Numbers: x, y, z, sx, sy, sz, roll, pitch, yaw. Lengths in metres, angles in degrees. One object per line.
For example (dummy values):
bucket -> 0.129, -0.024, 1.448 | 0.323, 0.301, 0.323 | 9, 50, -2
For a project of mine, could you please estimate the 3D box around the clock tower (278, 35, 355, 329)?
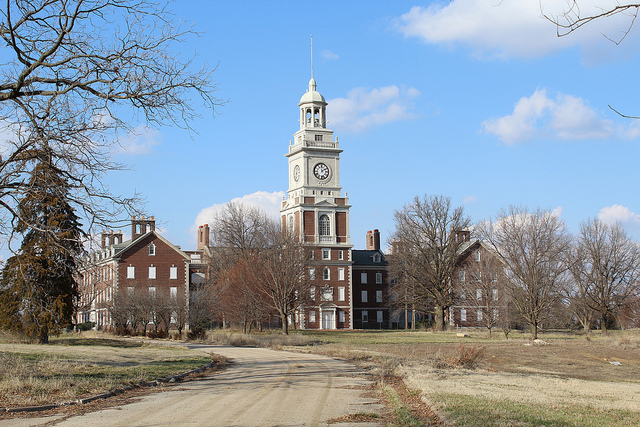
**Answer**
clock tower -> 0.108, -1.338, 113.968 | 7.682, 31.719, 5.596 | 0, -1, 0
